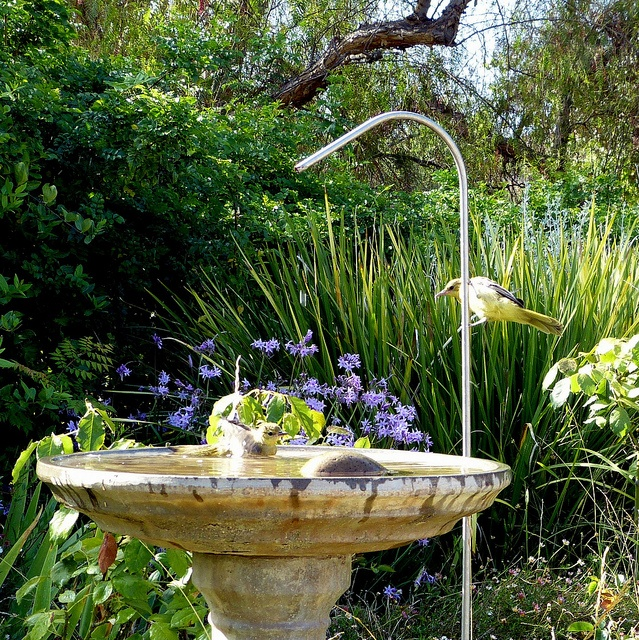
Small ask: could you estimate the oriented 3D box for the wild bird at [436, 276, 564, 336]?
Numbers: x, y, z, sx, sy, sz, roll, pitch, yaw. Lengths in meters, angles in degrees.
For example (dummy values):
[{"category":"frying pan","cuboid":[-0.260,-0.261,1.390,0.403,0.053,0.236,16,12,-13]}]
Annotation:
[{"category":"wild bird","cuboid":[0.553,-0.065,2.488,0.158,0.193,0.453,7,-6,-41]}]
